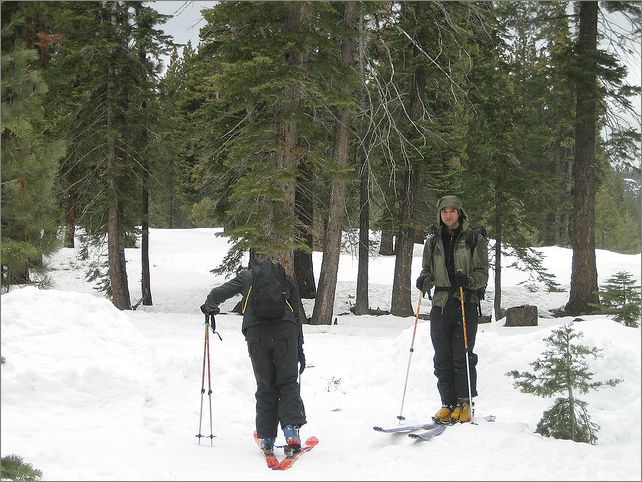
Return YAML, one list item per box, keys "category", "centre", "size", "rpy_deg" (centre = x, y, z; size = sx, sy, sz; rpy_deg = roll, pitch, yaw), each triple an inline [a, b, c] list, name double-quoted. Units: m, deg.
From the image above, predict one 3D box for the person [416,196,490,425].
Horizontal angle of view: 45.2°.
- category: "person"
  centre: [2.642, 1.349, 15.159]
  size: [1.322, 4.476, 0.598]
  rpy_deg: [-1, -2, 11]

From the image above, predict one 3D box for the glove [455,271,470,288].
- category: "glove"
  centre: [2.742, 0.754, 14.896]
  size: [0.272, 0.281, 0.205]
  rpy_deg: [4, -34, 28]

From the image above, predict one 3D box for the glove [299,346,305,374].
- category: "glove"
  centre: [-0.381, 2.308, 14.752]
  size: [0.127, 0.502, 0.124]
  rpy_deg: [-1, 2, -8]

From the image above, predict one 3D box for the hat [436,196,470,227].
- category: "hat"
  centre: [2.615, -0.590, 15.353]
  size: [0.536, 0.558, 0.589]
  rpy_deg: [-6, -4, 13]

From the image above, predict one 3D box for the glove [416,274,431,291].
- category: "glove"
  centre: [2.043, 0.861, 15.363]
  size: [0.242, 0.348, 0.124]
  rpy_deg: [7, -7, 13]

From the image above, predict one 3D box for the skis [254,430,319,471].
- category: "skis"
  centre: [-0.479, 3.937, 14.059]
  size: [0.194, 0.260, 1.559]
  rpy_deg: [29, -49, -13]

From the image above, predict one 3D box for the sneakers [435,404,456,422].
- category: "sneakers"
  centre: [2.484, 3.423, 15.124]
  size: [0.190, 0.231, 0.536]
  rpy_deg: [-2, 7, 40]
